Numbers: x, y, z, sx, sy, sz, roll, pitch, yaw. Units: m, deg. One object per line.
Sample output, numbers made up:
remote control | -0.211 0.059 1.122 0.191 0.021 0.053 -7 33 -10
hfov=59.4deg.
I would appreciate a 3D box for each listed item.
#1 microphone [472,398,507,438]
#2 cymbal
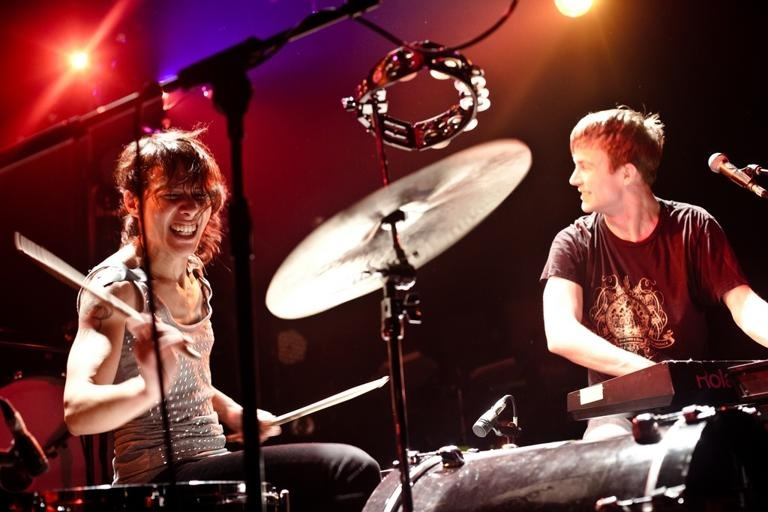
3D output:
microphone | 0.528 0.788 3.323 0.180 0.178 0.253 -11 -21 7
cymbal | 0.060 -0.106 2.856 0.943 0.235 0.859 5 -34 -46
